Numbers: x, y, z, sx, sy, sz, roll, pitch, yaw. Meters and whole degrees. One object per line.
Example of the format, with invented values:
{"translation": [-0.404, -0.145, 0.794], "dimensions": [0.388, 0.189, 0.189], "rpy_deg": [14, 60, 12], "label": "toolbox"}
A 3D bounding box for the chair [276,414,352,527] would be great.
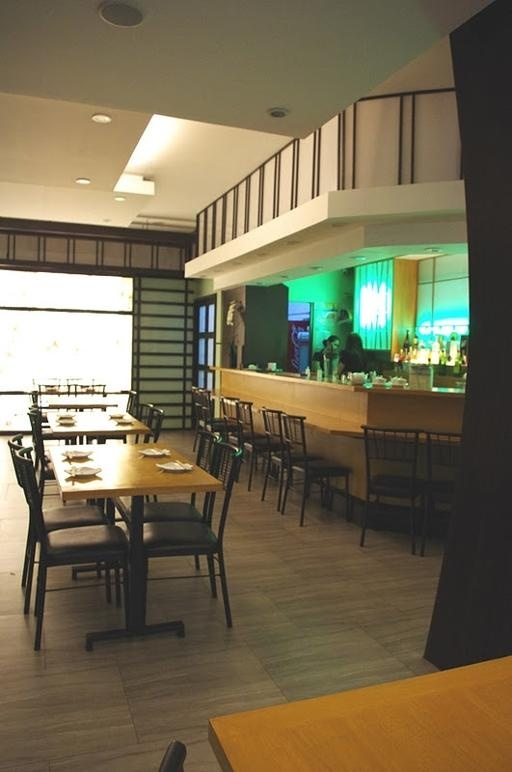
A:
{"translation": [0.487, 0.695, 5.307], "dimensions": [0.629, 0.905, 1.381], "rpy_deg": [2, 2, -8], "label": "chair"}

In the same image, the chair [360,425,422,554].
{"translation": [1.094, 0.734, 4.343], "dimensions": [0.518, 0.881, 0.503], "rpy_deg": [7, 3, 29], "label": "chair"}

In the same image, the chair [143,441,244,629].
{"translation": [-0.405, 0.718, 2.950], "dimensions": [0.477, 0.852, 0.511], "rpy_deg": [3, 10, -24], "label": "chair"}

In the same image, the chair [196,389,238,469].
{"translation": [-0.327, 0.478, 5.374], "dimensions": [0.396, 0.588, 0.397], "rpy_deg": [13, -10, -25], "label": "chair"}

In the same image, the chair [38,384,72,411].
{"translation": [-3.022, 0.177, 8.411], "dimensions": [0.395, 0.390, 0.257], "rpy_deg": [-1, 14, -24], "label": "chair"}

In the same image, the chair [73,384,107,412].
{"translation": [-2.351, 0.160, 8.170], "dimensions": [0.545, 0.510, 0.935], "rpy_deg": [0, -2, -25], "label": "chair"}

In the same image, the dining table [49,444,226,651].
{"translation": [-0.690, 0.867, 3.049], "dimensions": [0.634, 0.762, 1.191], "rpy_deg": [2, -4, -20], "label": "dining table"}

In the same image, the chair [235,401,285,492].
{"translation": [-0.056, 0.667, 6.283], "dimensions": [0.534, 0.739, 0.540], "rpy_deg": [-11, -5, -44], "label": "chair"}
